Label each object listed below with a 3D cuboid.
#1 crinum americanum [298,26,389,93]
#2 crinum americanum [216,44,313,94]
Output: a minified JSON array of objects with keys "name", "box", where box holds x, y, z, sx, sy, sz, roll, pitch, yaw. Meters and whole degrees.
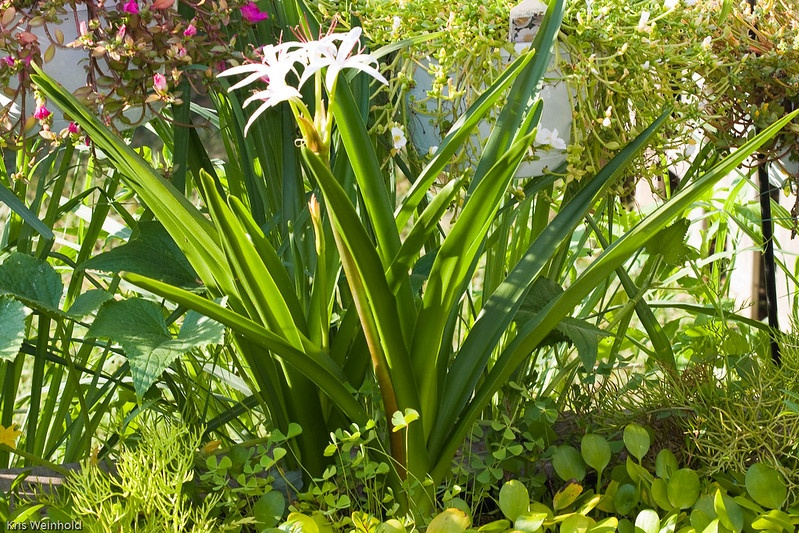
[{"name":"crinum americanum","box":[-0.079,-0.252,0.949,0.089,0.085,0.130,4,7,-21]},{"name":"crinum americanum","box":[-0.178,-0.266,1.045,0.087,0.059,0.111,-1,41,23]}]
